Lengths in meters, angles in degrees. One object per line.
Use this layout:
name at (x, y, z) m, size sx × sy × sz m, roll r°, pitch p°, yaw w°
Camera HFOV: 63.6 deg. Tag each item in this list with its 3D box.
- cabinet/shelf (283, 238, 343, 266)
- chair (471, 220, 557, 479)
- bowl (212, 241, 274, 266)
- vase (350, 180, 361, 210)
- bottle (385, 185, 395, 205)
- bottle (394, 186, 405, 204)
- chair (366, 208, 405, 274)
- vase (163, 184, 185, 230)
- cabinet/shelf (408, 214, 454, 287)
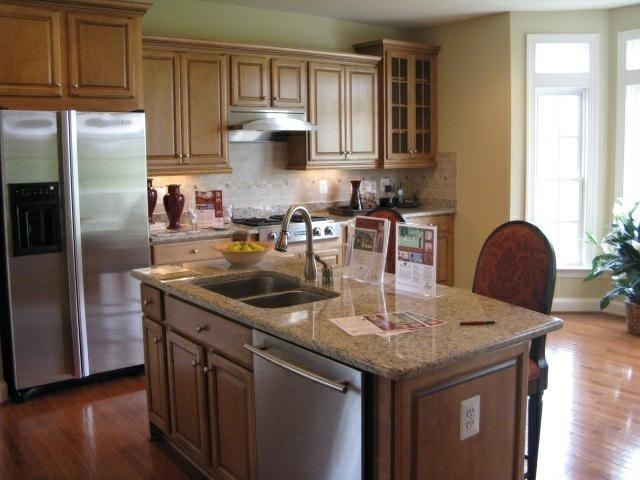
cabinet/shelf at (-0.045, 0.228, 5.133) m, size 0.495 × 0.460 × 0.279 m, roll -3°, pitch 8°, yaw -31°
chair at (1.088, 0.614, 2.892) m, size 0.339 × 1.410 × 0.631 m, roll -1°, pitch 12°, yaw -6°
bowl at (-0.484, 0.084, 3.215) m, size 0.325 × 0.136 × 0.231 m, roll 5°, pitch 12°, yaw 22°
vase at (0.408, -0.509, 5.791) m, size 0.134 × 0.311 × 0.270 m, roll -1°, pitch 11°, yaw -3°
bottle at (0.841, -0.544, 6.222) m, size 0.117 × 0.228 × 0.328 m, roll 2°, pitch 11°, yaw 7°
bottle at (0.971, -0.563, 6.294) m, size 0.109 × 0.218 × 0.364 m, roll 2°, pitch 11°, yaw 9°
chair at (0.427, -0.005, 3.463) m, size 0.242 × 0.424 × 0.970 m, roll 2°, pitch 11°, yaw 9°
vase at (-1.346, -0.311, 4.747) m, size 0.176 × 0.390 × 0.299 m, roll -3°, pitch 12°, yaw -17°
cabinet/shelf at (1.346, 0.124, 5.970) m, size 0.214 × 0.928 × 0.680 m, roll 10°, pitch 15°, yaw 40°
